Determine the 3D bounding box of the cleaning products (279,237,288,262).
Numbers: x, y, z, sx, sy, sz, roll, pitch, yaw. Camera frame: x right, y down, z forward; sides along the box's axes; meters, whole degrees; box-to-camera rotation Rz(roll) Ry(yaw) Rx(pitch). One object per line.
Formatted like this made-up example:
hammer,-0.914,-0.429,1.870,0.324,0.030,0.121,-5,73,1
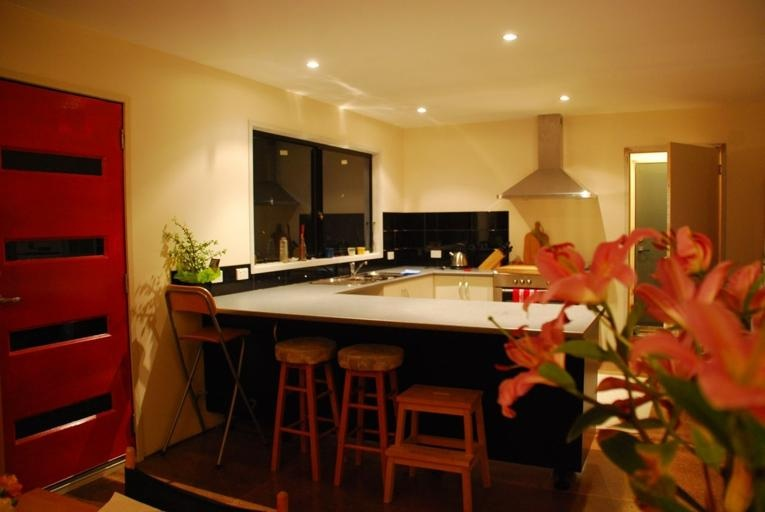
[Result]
cleaning products,-0.949,-0.072,5.447,0.056,0.239,0.181,0,6,6

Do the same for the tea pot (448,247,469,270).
tea pot,0.912,0.021,6.905,0.180,0.242,0.272,0,0,-5

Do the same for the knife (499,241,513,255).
knife,1.473,-0.095,6.771,0.112,0.168,0.156,0,1,17

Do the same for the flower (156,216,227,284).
flower,-1.454,-0.071,4.432,0.424,0.523,0.453,6,6,18

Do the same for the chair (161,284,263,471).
chair,-1.271,0.823,4.300,0.677,1.261,0.612,2,6,23

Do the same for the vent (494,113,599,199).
vent,1.841,-1.115,6.333,1.065,0.909,0.982,3,10,3
